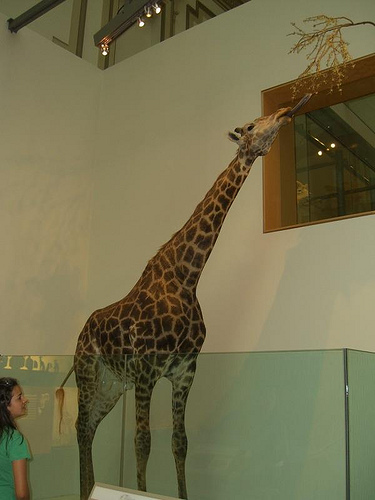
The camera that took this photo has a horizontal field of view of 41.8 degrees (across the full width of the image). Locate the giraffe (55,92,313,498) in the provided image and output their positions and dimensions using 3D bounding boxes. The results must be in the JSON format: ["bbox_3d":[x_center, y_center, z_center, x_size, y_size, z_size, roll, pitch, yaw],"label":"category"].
[{"bbox_3d":[-0.235,0.117,2.416,1.264,1.652,1.084,-1,-1,35],"label":"giraffe"}]

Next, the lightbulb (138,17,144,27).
[{"bbox_3d":[-0.242,-1.199,2.570,0.022,0.064,0.055,0,-1,-11],"label":"lightbulb"}]
